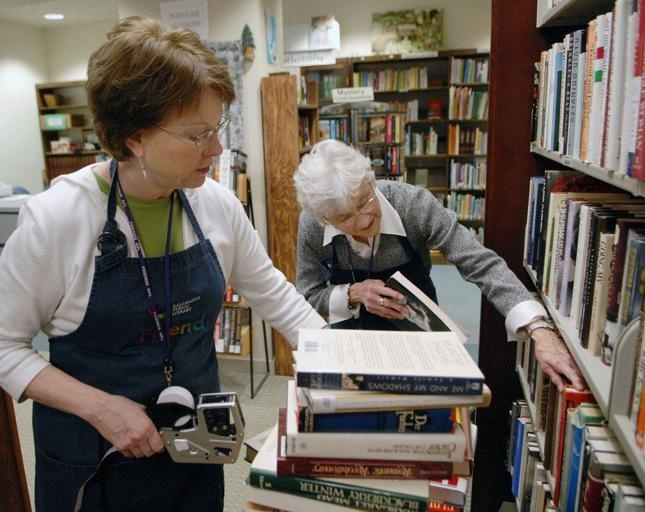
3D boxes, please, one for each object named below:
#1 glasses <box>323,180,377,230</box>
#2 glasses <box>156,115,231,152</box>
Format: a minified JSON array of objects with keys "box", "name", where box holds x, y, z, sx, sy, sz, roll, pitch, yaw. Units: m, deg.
[{"box":[0.109,-0.187,1.875,0.153,0.052,0.161,-42,12,-1],"name":"glasses"},{"box":[-0.334,-0.290,1.379,0.110,0.039,0.127,9,50,23],"name":"glasses"}]
